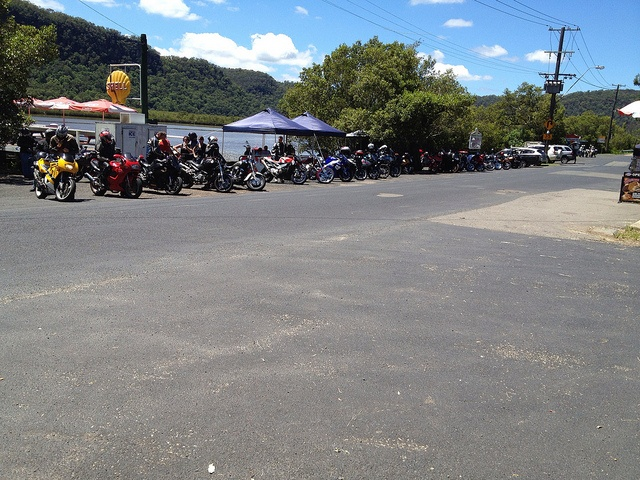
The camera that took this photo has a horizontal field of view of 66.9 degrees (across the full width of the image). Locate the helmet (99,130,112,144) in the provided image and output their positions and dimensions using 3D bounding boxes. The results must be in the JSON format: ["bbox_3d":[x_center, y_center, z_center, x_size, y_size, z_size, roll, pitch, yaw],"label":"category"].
[{"bbox_3d":[-6.467,-3.077,14.611,0.345,0.340,0.301,-6,16,-30],"label":"helmet"}]

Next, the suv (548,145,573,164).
[{"bbox_3d":[26.497,-9.102,53.491,3.063,1.618,2.279,10,18,23],"label":"suv"}]

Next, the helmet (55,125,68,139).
[{"bbox_3d":[-7.213,-2.970,13.477,0.299,0.389,0.337,1,-14,-36],"label":"helmet"}]

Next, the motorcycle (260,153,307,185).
[{"bbox_3d":[-1.638,-3.118,21.724,2.002,1.355,1.001,-1,13,-12],"label":"motorcycle"}]

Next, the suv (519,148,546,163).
[{"bbox_3d":[19.480,-7.541,44.376,1.131,0.978,2.593,-2,18,-11],"label":"suv"}]

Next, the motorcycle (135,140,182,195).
[{"bbox_3d":[-5.242,-2.326,15.999,2.122,1.374,1.028,15,17,32],"label":"motorcycle"}]

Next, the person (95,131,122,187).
[{"bbox_3d":[-6.475,-2.433,14.651,0.539,1.624,0.653,-4,15,-25],"label":"person"}]

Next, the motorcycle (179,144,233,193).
[{"bbox_3d":[-4.083,-2.454,17.737,1.726,1.302,1.770,-1,15,-12],"label":"motorcycle"}]

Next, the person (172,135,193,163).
[{"bbox_3d":[-5.241,-3.466,18.375,1.248,0.777,0.674,19,31,39],"label":"person"}]
